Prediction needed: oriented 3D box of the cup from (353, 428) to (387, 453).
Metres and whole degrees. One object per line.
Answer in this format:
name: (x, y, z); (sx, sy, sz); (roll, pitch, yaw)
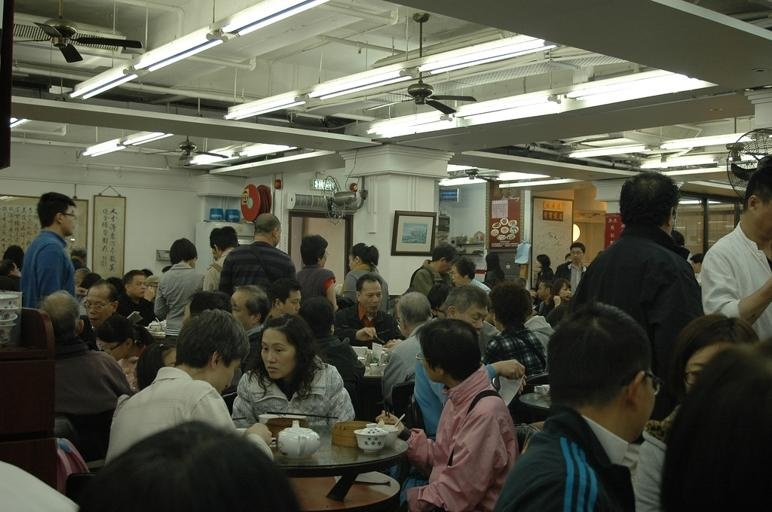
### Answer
cup: (-0.071, 0.947, 3.662); (0.131, 0.076, 0.127); (1, -8, 0)

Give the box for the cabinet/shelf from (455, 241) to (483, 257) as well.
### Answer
cabinet/shelf: (1.942, -0.167, 16.394); (0.469, 0.197, 0.451); (1, 0, -15)

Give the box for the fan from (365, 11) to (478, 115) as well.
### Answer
fan: (0.345, -1.894, 6.772); (0.725, 0.827, 0.833); (2, 5, 37)

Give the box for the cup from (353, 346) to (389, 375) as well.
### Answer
cup: (-0.128, 0.869, 5.867); (0.197, 0.205, 0.251); (-10, -19, 37)

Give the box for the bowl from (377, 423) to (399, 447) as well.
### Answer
bowl: (0.023, 0.947, 3.774); (0.109, 0.076, 0.103); (2, 2, 0)

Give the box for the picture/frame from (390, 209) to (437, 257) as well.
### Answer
picture/frame: (0.428, -0.333, 10.687); (0.784, 0.638, 0.039); (1, 5, -35)

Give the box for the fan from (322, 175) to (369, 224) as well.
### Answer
fan: (-0.590, -0.912, 11.437); (0.368, 0.470, 1.334); (7, -2, -22)
